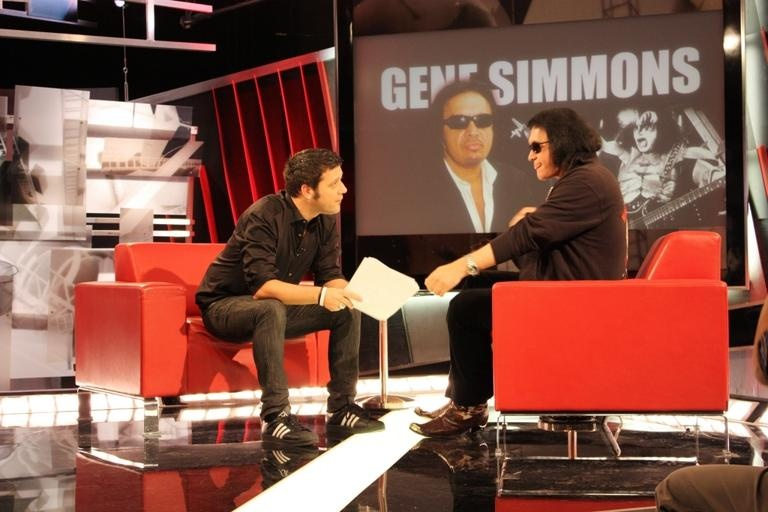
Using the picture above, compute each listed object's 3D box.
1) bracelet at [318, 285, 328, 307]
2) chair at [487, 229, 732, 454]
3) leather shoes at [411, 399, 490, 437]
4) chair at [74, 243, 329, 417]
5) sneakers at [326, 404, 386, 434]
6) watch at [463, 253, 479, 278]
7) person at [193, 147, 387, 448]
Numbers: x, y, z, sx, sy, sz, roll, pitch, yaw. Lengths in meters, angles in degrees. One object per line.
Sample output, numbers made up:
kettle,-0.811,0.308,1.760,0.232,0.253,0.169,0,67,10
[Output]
bracelet,-0.331,0.218,4.207,0.067,0.095,0.029,4,8,34
chair,1.134,0.326,4.193,1.088,0.903,1.203,-1,0,7
leather shoes,0.374,0.914,4.334,0.446,0.206,0.160,-1,0,7
chair,-1.116,0.377,4.902,1.453,0.860,1.008,2,-2,-41
sneakers,-0.166,0.913,4.330,0.316,0.136,0.143,-3,-5,17
watch,0.447,0.044,3.955,0.068,0.105,0.073,-1,7,1
person,-0.535,0.191,4.334,0.874,1.571,0.753,-4,8,-24
